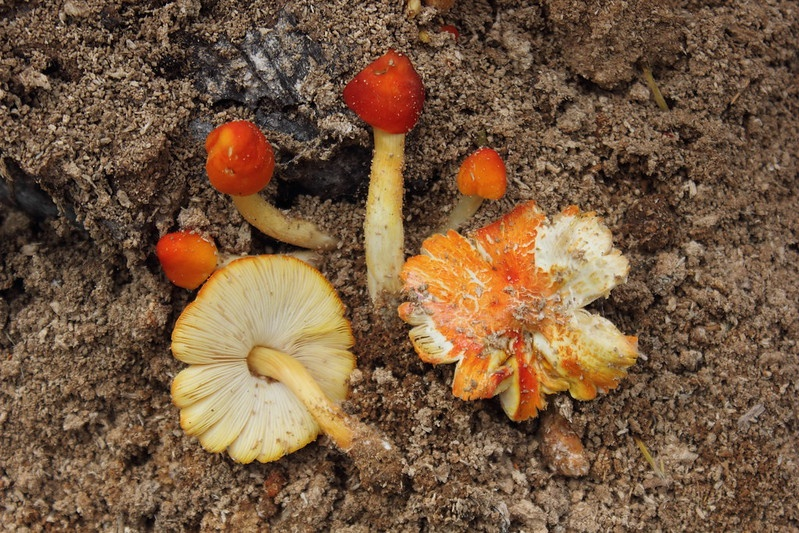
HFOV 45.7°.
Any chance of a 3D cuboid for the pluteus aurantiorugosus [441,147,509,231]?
[{"bbox_3d":[0.624,-0.642,7.656,0.265,0.570,0.261,39,53,7],"label":"pluteus aurantiorugosus"}]
